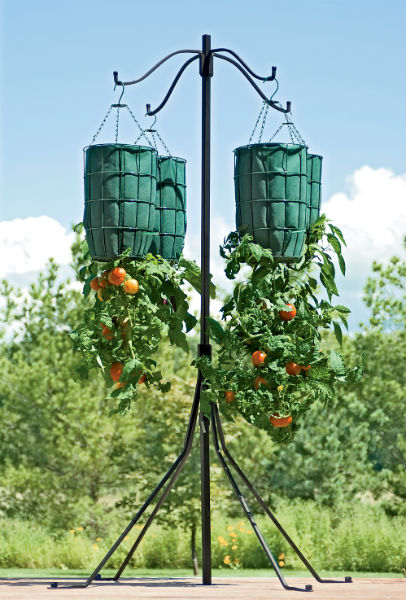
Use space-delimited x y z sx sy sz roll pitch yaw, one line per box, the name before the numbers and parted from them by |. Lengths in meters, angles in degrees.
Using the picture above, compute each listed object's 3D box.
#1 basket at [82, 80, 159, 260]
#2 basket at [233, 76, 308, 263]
basket | -0.351 -0.432 3.938 0.250 0.510 0.327 -6 -6 43
basket | 0.323 -0.549 4.060 0.369 0.691 0.344 -2 1 -28
